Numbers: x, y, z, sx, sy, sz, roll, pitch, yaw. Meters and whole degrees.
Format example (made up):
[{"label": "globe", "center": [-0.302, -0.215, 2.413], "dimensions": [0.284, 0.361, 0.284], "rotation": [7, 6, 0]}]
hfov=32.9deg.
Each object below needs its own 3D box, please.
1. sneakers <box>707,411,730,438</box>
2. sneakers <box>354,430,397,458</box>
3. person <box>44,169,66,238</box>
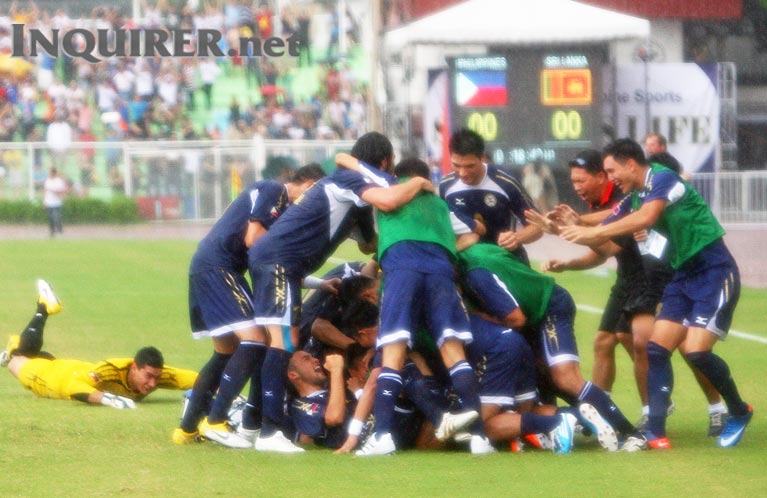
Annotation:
[{"label": "sneakers", "center": [4.490, 2.338, 17.432], "dimensions": [0.180, 0.448, 0.152], "rotation": [37, -32, -24]}, {"label": "sneakers", "center": [-0.150, 2.535, 16.665], "dimensions": [0.630, 0.271, 0.225], "rotation": [-6, -7, 9]}, {"label": "person", "center": [-8.081, -1.149, 31.821], "dimensions": [0.528, 1.673, 0.856], "rotation": [-4, 12, -14]}]
